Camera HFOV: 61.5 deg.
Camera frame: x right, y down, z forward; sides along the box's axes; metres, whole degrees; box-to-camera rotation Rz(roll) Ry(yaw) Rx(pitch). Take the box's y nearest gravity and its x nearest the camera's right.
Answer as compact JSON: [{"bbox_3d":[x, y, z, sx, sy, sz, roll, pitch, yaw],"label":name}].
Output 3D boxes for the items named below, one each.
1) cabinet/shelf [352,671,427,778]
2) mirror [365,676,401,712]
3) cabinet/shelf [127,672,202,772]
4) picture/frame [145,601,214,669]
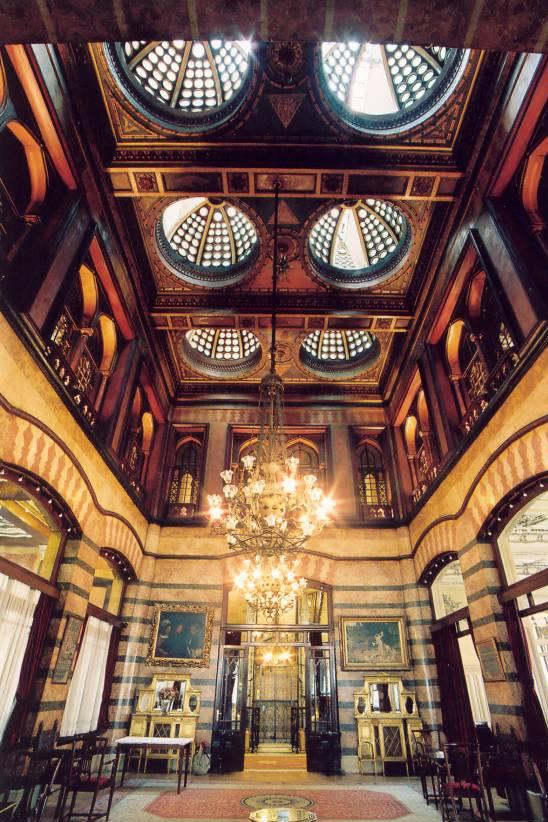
[{"bbox_3d":[2.345,6.026,8.872,1.319,1.550,0.521,-5,-31,8],"label":"cabinet/shelf"},{"bbox_3d":[2.346,5.709,9.216,0.638,0.695,0.100,0,-48,3],"label":"mirror"},{"bbox_3d":[-2.150,5.937,8.867,1.216,1.772,0.345,3,-57,-4],"label":"cabinet/shelf"},{"bbox_3d":[-2.047,4.834,9.769,1.154,1.274,0.105,2,-33,-1],"label":"picture/frame"}]
